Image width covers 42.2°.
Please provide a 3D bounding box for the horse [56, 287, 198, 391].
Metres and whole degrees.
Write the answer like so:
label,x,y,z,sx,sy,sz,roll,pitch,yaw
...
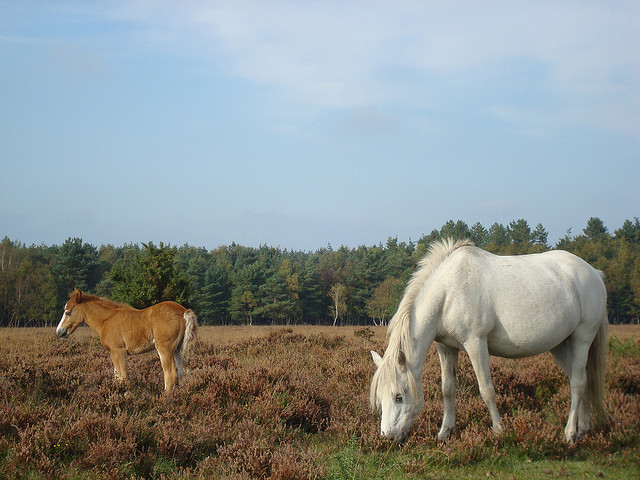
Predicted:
label,x,y,z,sx,sy,sz,roll,pitch,yaw
horse,-4.319,2.249,19.064,3.064,2.252,0.872,-3,-7,24
